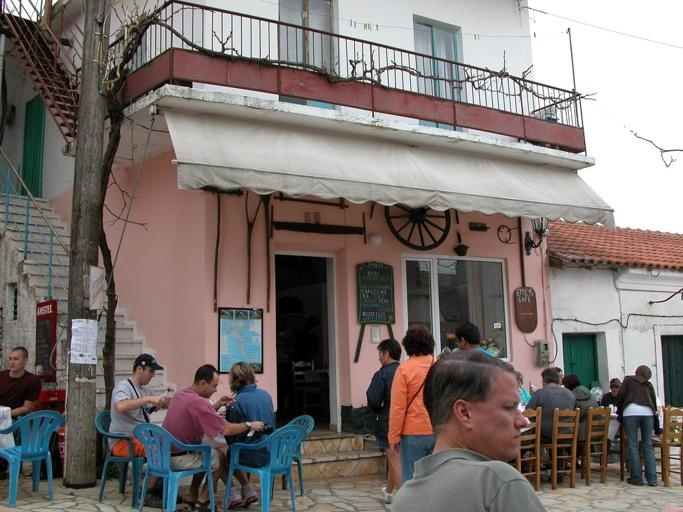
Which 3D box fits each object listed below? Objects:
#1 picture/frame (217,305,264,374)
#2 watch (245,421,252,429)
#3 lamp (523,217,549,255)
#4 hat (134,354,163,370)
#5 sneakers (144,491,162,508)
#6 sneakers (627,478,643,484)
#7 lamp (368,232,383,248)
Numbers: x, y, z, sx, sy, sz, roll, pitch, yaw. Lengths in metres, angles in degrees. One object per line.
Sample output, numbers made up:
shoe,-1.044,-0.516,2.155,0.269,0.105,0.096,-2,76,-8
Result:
picture/frame,-1.707,1.383,11.508,0.968,1.455,0.051,5,-12,-34
watch,-1.178,2.126,8.846,0.074,0.080,0.048,17,7,28
lamp,4.017,-0.371,14.579,0.475,0.712,0.549,-4,-11,16
hat,-2.717,1.477,9.818,0.346,0.213,0.236,3,-7,-10
sneakers,-2.466,3.163,9.173,0.198,0.222,0.078,2,-12,10
sneakers,4.716,3.618,11.309,0.079,0.096,0.207,0,5,-38
lamp,0.648,-0.294,13.011,0.322,0.239,0.153,6,-12,-33
